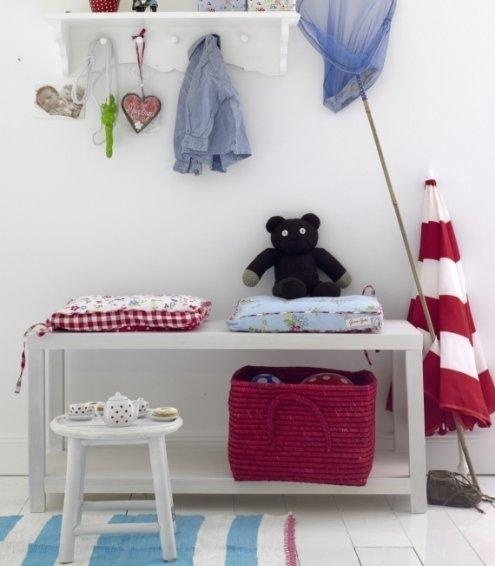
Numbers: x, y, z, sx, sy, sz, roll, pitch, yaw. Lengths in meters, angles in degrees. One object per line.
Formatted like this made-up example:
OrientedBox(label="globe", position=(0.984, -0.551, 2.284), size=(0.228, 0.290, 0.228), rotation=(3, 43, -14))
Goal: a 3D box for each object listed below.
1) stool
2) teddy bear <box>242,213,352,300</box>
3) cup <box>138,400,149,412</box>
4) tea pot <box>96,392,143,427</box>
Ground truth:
OrientedBox(label="stool", position=(-0.325, 0.500, 1.502), size=(0.328, 0.367, 0.347), rotation=(-1, -7, -3))
OrientedBox(label="teddy bear", position=(0.193, -0.071, 1.936), size=(0.328, 0.294, 0.325), rotation=(-22, 31, -38))
OrientedBox(label="cup", position=(-0.287, 0.335, 1.512), size=(0.037, 0.038, 0.026), rotation=(6, -8, -43))
OrientedBox(label="tea pot", position=(-0.334, 0.325, 1.439), size=(0.112, 0.083, 0.079), rotation=(-1, -2, -18))
